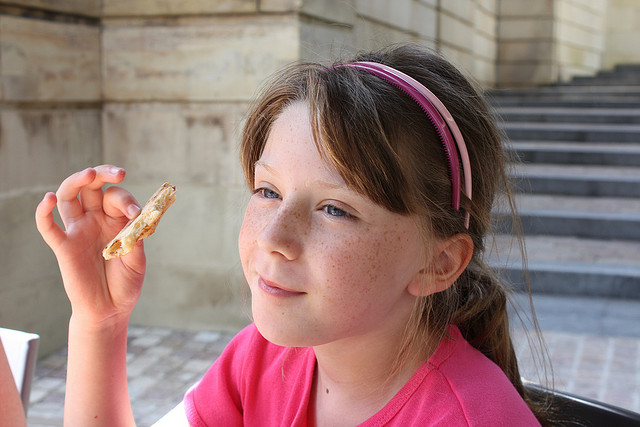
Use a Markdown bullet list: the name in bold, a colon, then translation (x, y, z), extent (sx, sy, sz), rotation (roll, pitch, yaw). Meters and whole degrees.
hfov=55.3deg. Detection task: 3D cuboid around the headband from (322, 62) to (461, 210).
- **headband**: translation (0.318, -0.216, 1.808), extent (0.401, 0.380, 0.087), rotation (9, 4, 3)
